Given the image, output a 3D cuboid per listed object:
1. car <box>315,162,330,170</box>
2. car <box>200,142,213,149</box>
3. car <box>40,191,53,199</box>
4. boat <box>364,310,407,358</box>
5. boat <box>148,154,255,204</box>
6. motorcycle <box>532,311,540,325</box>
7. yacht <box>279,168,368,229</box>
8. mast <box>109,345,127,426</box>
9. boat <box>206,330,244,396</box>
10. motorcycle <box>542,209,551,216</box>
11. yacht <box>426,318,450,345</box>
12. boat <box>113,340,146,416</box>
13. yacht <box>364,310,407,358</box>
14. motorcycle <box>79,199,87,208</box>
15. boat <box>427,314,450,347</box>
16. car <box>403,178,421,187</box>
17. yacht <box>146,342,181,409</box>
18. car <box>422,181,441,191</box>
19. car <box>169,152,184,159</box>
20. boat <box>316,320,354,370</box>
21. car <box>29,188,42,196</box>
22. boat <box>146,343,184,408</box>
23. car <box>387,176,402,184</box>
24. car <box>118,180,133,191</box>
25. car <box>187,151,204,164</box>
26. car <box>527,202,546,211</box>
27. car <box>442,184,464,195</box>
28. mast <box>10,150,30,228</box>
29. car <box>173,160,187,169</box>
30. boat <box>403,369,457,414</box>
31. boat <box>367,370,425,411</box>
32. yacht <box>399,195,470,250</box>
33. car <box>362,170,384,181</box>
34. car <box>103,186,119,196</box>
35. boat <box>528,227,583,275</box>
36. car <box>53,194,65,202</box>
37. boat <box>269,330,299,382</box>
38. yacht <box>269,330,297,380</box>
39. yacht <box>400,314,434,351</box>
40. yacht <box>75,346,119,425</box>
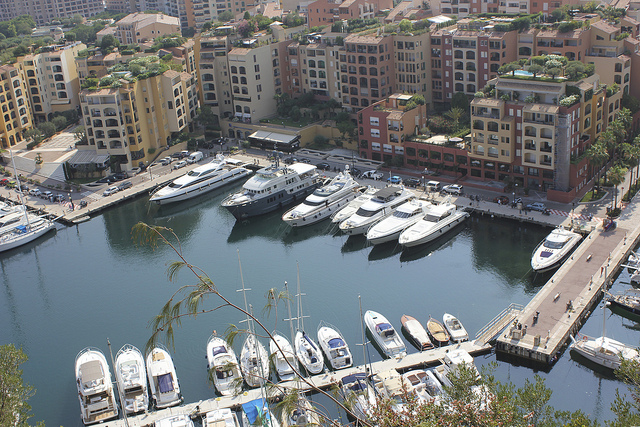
[{"bbox_3d":[0.769,-9.094,137.396,2.095,0.766,1.151,6,23,20],"label":"car"},{"bbox_3d":[-23.973,-14.551,152.888,2.035,0.713,1.729,10,28,28],"label":"car"},{"bbox_3d":[-52.168,-3.540,135.936,1.901,0.953,1.173,15,24,0],"label":"car"},{"bbox_3d":[8.734,16.417,96.671,3.264,2.835,10.279,-8,31,-20],"label":"boat"},{"bbox_3d":[-22.901,-6.041,139.511,22.283,7.392,7.267,-25,33,-30],"label":"boat"},{"bbox_3d":[29.292,14.096,96.527,0.548,0.838,2.073,3,53,44],"label":"motorcycle"},{"bbox_3d":[1.060,-2.728,125.646,18.307,6.655,5.608,-26,30,-34],"label":"yacht"},{"bbox_3d":[-25.829,22.598,91.291,0.200,11.497,0.421,-21,15,-39],"label":"mast"},{"bbox_3d":[-12.448,19.600,92.394,3.779,2.804,11.864,-8,25,-17],"label":"boat"},{"bbox_3d":[37.133,-0.284,116.883,1.274,0.619,1.356,1,25,12],"label":"motorcycle"},{"bbox_3d":[15.918,16.285,96.006,2.441,1.356,4.948,-9,27,-11],"label":"yacht"},{"bbox_3d":[-24.253,21.653,92.255,3.482,2.839,10.232,-12,44,-12],"label":"boat"},{"bbox_3d":[8.788,16.354,96.554,2.488,2.732,8.246,-20,36,-7],"label":"yacht"},{"bbox_3d":[-44.024,-1.811,132.882,1.369,0.519,1.749,-14,26,-20],"label":"motorcycle"},{"bbox_3d":[15.878,16.159,96.111,2.442,1.859,5.074,-4,32,-11],"label":"boat"},{"bbox_3d":[16.588,-5.680,128.399,2.954,0.990,1.354,15,40,22],"label":"car"},{"bbox_3d":[-20.571,21.132,92.832,3.721,3.214,10.010,-10,42,-17],"label":"yacht"},{"bbox_3d":[19.973,-5.181,126.478,2.420,1.273,1.494,19,35,27],"label":"car"},{"bbox_3d":[-29.456,-12.125,148.457,2.051,0.932,1.356,6,27,10],"label":"car"},{"bbox_3d":[1.773,17.554,95.218,3.496,2.712,7.502,-12,36,-18],"label":"boat"},{"bbox_3d":[-54.885,-4.275,137.664,2.051,0.963,1.364,13,37,11],"label":"car"},{"bbox_3d":[-20.577,21.019,93.042,3.832,2.838,10.623,-12,39,-16],"label":"boat"},{"bbox_3d":[13.582,-6.237,129.405,1.955,0.921,1.210,17,31,21],"label":"car"},{"bbox_3d":[-37.625,-5.366,138.431,2.581,1.179,1.397,-18,27,-38],"label":"car"},{"bbox_3d":[-25.709,-11.525,146.340,1.613,1.553,3.000,3,11,26],"label":"car"},{"bbox_3d":[35.952,-1.191,117.678,2.037,0.936,1.371,14,24,27],"label":"car"},{"bbox_3d":[23.496,-4.414,124.983,2.871,1.399,1.754,12,27,21],"label":"car"},{"bbox_3d":[-57.337,-4.187,136.593,0.257,15.883,1.098,-12,4,-31],"label":"mast"},{"bbox_3d":[-28.442,-10.037,145.287,2.155,0.992,1.159,-32,45,-34],"label":"car"},{"bbox_3d":[13.496,21.468,90.736,3.286,3.993,11.157,-33,-17,15],"label":"boat"},{"bbox_3d":[9.882,21.253,88.064,7.897,3.120,3.495,-14,19,17],"label":"boat"},{"bbox_3d":[17.847,2.492,117.329,13.963,5.532,4.833,-33,37,-22],"label":"yacht"},{"bbox_3d":[9.881,-7.189,132.224,2.918,0.903,1.869,8,38,11],"label":"car"},{"bbox_3d":[-39.851,-4.345,136.392,1.409,1.149,2.491,9,15,34],"label":"car"},{"bbox_3d":[36.221,5.107,109.518,4.409,5.268,12.738,9,31,39],"label":"boat"},{"bbox_3d":[-49.523,-2.945,135.277,1.758,0.635,1.245,3,45,-9],"label":"car"},{"bbox_3d":[-4.851,18.768,93.551,3.120,2.140,9.399,-1,28,-16],"label":"boat"},{"bbox_3d":[-4.726,18.839,93.297,2.952,2.207,9.041,-8,26,-8],"label":"yacht"},{"bbox_3d":[13.027,16.193,97.065,2.729,1.417,7.599,-6,27,-18],"label":"yacht"},{"bbox_3d":[-29.085,22.204,92.756,4.093,3.725,11.138,-12,50,-14],"label":"yacht"}]
